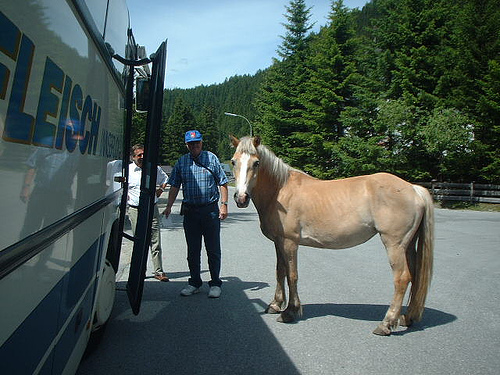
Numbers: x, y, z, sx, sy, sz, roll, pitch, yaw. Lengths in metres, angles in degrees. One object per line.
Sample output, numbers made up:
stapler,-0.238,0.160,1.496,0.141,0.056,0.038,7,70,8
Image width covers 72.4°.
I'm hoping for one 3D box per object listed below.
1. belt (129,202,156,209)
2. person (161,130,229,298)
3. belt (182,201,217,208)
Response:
belt,-1.914,0.338,6.122,0.351,0.103,0.701,-1,1,-31
person,-0.831,0.408,5.486,0.946,2.615,0.559,0,1,-4
belt,-0.810,0.283,5.492,0.530,0.071,0.120,0,1,6
